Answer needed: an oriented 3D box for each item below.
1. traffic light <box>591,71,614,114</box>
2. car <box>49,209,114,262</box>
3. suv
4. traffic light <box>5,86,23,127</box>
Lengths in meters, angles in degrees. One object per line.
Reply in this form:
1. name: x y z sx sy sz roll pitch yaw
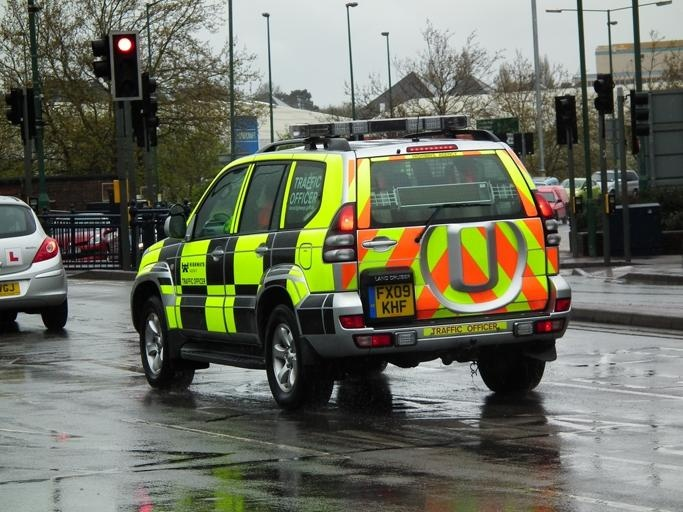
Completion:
1. traffic light: 6.302 -3.932 22.155 0.514 0.843 1.207 8 -3 15
2. car: -7.073 -0.512 25.345 1.166 1.080 1.986 -1 11 -14
3. suv: -0.174 -0.010 8.811 2.154 1.858 3.748 -1 5 -28
4. traffic light: -10.299 -4.804 28.994 0.601 1.243 1.516 9 -2 -20
